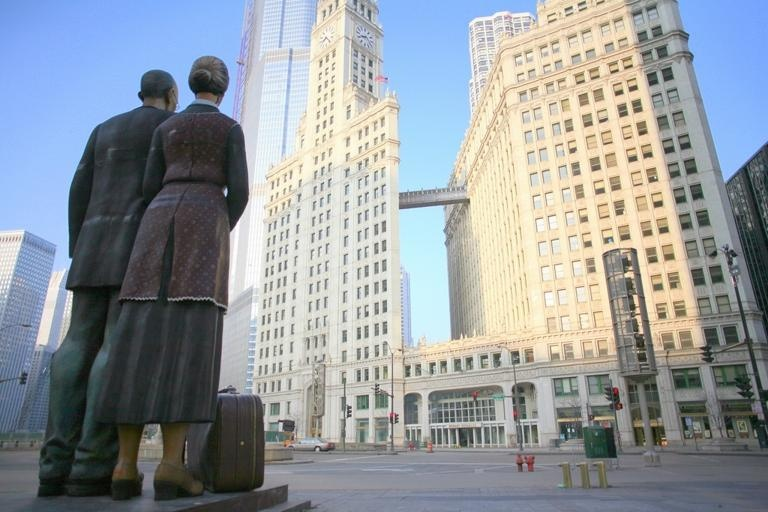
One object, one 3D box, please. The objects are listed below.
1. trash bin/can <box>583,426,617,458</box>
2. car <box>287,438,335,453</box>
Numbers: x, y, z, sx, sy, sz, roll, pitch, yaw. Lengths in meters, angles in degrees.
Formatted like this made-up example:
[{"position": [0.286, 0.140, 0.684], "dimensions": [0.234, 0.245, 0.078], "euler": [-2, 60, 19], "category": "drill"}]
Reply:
[{"position": [11.078, 9.599, 28.607], "dimensions": [1.409, 1.594, 0.861], "euler": [-8, -21, 13], "category": "trash bin/can"}, {"position": [-6.832, 18.677, 54.812], "dimensions": [4.340, 1.370, 2.177], "euler": [-18, -25, 37], "category": "car"}]
